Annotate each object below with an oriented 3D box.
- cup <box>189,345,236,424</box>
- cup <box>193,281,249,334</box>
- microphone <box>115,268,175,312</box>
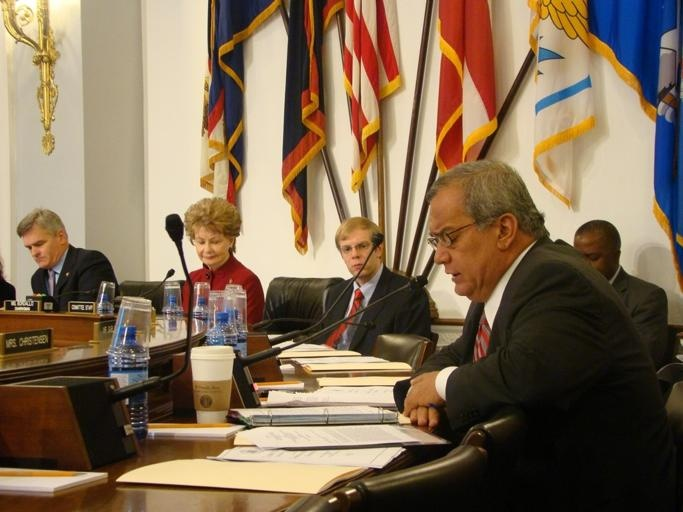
[{"bbox_3d":[-0.347,0.358,1.714,0.166,0.259,0.178,0,-9,0],"label":"cup"},{"bbox_3d":[-0.446,0.203,2.421,0.196,0.253,0.211,-1,-7,0],"label":"cup"},{"bbox_3d":[-1.325,0.220,4.171,0.253,0.354,0.285,-2,-4,26],"label":"microphone"}]
